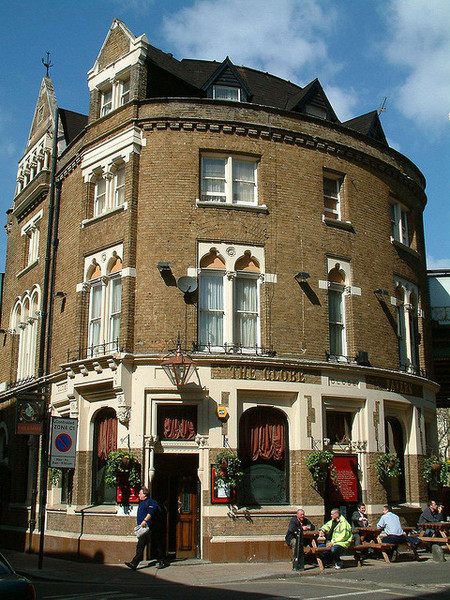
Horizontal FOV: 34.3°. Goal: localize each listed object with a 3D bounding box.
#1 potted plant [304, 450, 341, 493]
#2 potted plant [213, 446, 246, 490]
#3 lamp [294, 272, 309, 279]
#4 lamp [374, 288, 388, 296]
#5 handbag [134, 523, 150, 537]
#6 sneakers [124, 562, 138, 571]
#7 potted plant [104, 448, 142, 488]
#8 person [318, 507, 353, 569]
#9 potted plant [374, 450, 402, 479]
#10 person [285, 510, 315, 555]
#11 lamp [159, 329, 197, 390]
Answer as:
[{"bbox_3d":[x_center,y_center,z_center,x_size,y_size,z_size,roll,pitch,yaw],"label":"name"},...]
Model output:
[{"bbox_3d":[2.570,4.593,19.334,0.602,1.195,1.169,-10,-18,27],"label":"potted plant"},{"bbox_3d":[0.066,4.185,18.121,0.667,0.958,0.542,0,-16,-5],"label":"potted plant"},{"bbox_3d":[2.185,-0.683,20.667,0.266,0.123,0.258,5,-27,-4],"label":"lamp"},{"bbox_3d":[4.890,-0.255,22.771,0.284,0.156,0.290,26,-23,-31],"label":"lamp"},{"bbox_3d":[-1.901,5.211,16.435,0.333,0.206,0.311,-19,1,-2],"label":"handbag"},{"bbox_3d":[-2.147,6.054,16.561,0.269,0.171,0.451,1,-16,-6],"label":"sneakers"},{"bbox_3d":[-2.558,4.218,18.175,0.773,0.911,0.638,10,-19,-33],"label":"potted plant"},{"bbox_3d":[2.580,5.600,17.155,0.783,1.288,1.330,-3,-16,6],"label":"person"},{"bbox_3d":[4.628,4.734,20.855,0.525,0.739,0.866,-9,-18,26],"label":"potted plant"},{"bbox_3d":[1.762,5.555,17.275,0.669,1.092,0.626,0,-14,8],"label":"person"},{"bbox_3d":[-1.173,1.454,18.590,0.715,1.420,0.700,-12,-16,36],"label":"lamp"}]
